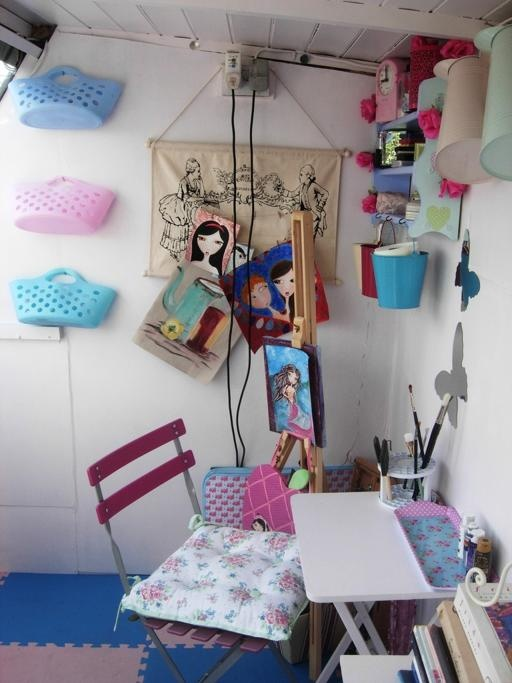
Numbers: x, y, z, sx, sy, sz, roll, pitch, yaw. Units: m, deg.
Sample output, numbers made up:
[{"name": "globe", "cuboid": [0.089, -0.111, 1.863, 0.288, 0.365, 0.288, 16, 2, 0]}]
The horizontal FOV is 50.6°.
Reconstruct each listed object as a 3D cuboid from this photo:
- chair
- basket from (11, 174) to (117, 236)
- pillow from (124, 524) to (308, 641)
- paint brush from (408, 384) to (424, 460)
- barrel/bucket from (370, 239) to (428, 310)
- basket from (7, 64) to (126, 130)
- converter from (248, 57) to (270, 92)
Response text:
[{"name": "chair", "cuboid": [-0.204, 0.682, 1.831, 0.631, 0.860, 0.529, 20, 32, 39]}, {"name": "basket", "cuboid": [-0.692, -0.500, 1.981, 0.357, 0.204, 0.173, -2, 10, -21]}, {"name": "pillow", "cuboid": [-0.094, 0.659, 1.481, 0.404, 0.087, 0.408, 3, 7, 16]}, {"name": "paint brush", "cuboid": [0.507, 0.252, 1.706, 0.024, 0.222, 0.020, -19, 19, -16]}, {"name": "barrel/bucket", "cuboid": [0.372, -0.198, 1.623, 0.186, 0.239, 0.202, -1, 8, 0]}, {"name": "basket", "cuboid": [-0.651, -0.843, 1.882, 0.382, 0.173, 0.183, -1, 10, -17]}, {"name": "converter", "cuboid": [0.011, -0.924, 1.896, 0.070, 0.107, 0.040, -1, 10, -13]}]
